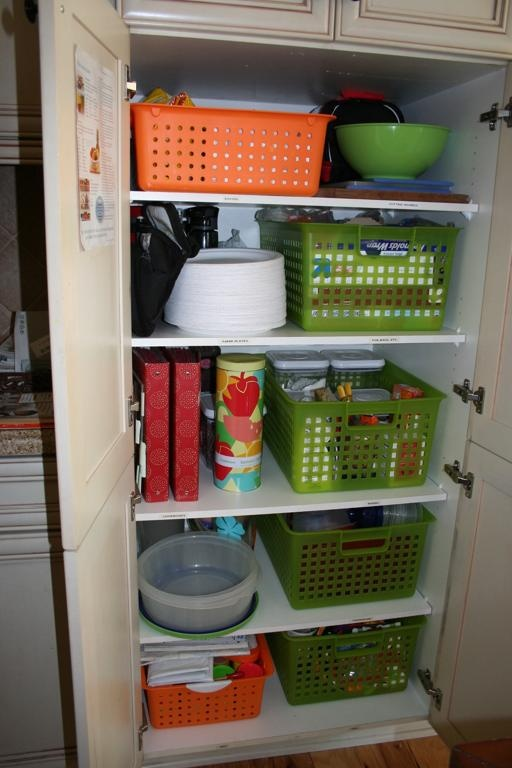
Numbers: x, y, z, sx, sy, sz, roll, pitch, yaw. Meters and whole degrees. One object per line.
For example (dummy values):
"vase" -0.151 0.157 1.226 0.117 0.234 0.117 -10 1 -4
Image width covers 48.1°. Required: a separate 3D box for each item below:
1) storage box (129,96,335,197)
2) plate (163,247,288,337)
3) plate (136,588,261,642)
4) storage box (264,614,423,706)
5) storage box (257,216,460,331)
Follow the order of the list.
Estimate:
"storage box" -0.052 -0.472 1.221 0.312 0.122 0.217 -4 17 -12
"plate" -0.058 -0.196 1.347 0.221 0.152 0.235 0 16 0
"plate" -0.145 0.569 1.407 0.206 0.026 0.215 -2 11 -19
"storage box" 0.273 0.771 1.603 0.337 0.180 0.251 -1 2 -11
"storage box" 0.266 -0.258 1.364 0.270 0.175 0.350 -1 19 -7
